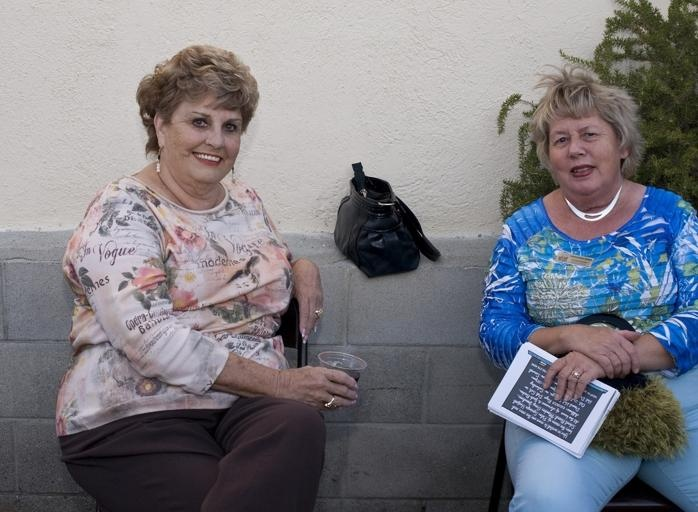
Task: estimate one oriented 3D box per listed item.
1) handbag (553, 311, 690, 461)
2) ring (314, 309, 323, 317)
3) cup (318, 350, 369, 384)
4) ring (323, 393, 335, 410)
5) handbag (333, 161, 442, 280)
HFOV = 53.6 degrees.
[{"bbox_3d":[0.826,0.481,2.398,0.509,0.205,0.469,17,11,-27],"label":"handbag"},{"bbox_3d":[-0.120,0.222,2.699,0.016,0.019,0.030,-9,4,-13],"label":"ring"},{"bbox_3d":[-0.030,0.360,2.421,0.141,0.089,0.133,19,5,-2],"label":"cup"},{"bbox_3d":[-0.059,0.481,2.277,0.043,0.032,0.016,-42,71,-12],"label":"ring"},{"bbox_3d":[0.106,-0.179,3.184,0.607,0.385,0.383,10,33,23],"label":"handbag"}]
